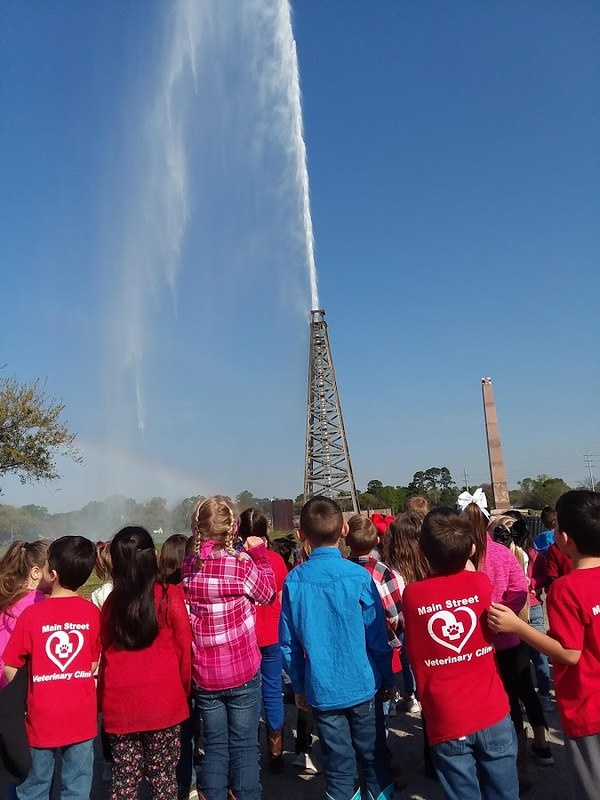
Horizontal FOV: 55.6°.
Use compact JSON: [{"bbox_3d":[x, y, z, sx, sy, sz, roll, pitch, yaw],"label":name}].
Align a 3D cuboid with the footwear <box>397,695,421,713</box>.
[{"bbox_3d":[1.254,3.519,6.672,0.168,0.188,0.433,2,-9,-9],"label":"footwear"}]
